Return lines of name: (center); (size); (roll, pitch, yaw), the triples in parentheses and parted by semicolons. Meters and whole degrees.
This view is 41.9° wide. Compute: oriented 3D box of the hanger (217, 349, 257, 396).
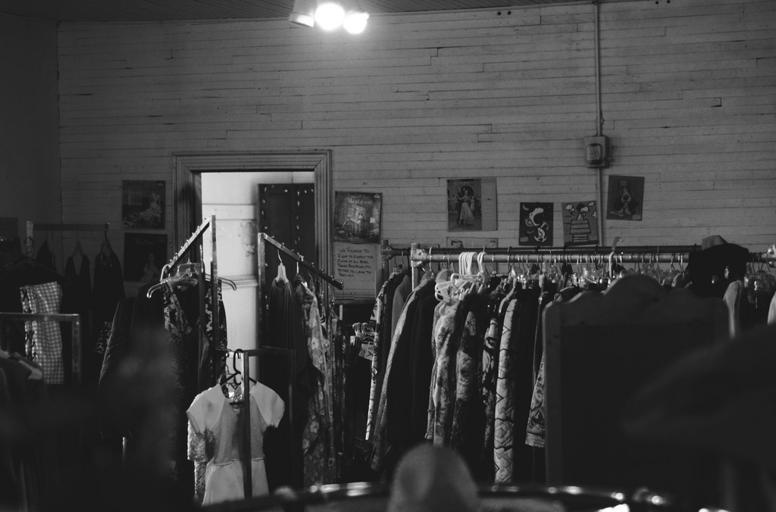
hanger: (-1.153, 0.888, 7.719); (0.281, 0.359, 0.949); (1, 0, -4)

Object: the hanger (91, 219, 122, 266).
hanger: (-2.642, -0.121, 9.557); (0.224, 0.423, 0.260); (2, 0, -16)

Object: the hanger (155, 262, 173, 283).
hanger: (-1.849, 0.141, 8.317); (0.050, 0.170, 0.119); (18, 8, 3)

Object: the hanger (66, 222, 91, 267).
hanger: (-2.874, -0.090, 9.363); (0.195, 0.448, 0.773); (2, 0, -17)

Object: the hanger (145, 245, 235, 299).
hanger: (-1.512, 0.133, 7.688); (0.485, 0.240, 0.491); (0, 13, -6)
